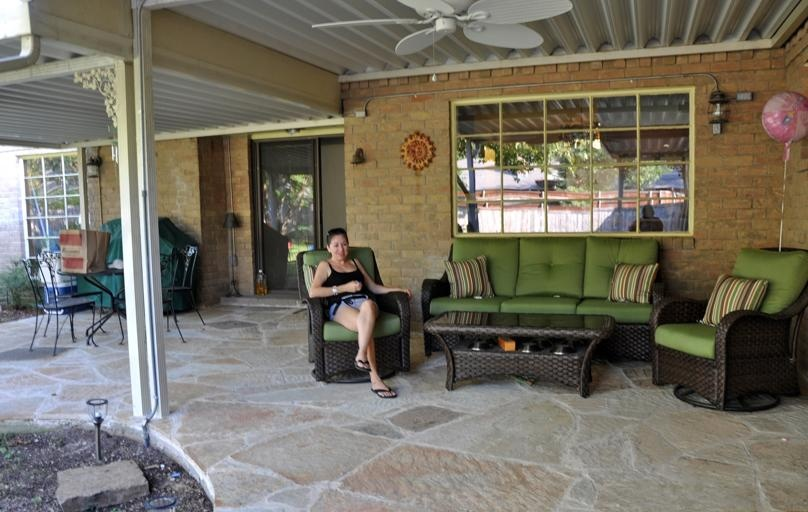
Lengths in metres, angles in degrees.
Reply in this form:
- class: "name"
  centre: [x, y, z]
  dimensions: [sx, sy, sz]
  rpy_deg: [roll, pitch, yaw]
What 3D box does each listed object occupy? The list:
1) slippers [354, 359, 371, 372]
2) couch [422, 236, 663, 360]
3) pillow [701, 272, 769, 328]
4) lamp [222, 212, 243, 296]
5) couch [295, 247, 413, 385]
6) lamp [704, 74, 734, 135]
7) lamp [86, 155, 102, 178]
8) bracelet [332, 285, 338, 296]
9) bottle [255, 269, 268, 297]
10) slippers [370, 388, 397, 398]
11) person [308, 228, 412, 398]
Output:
- class: "slippers"
  centre: [-0.413, 1.099, 5.530]
  dimensions: [0.109, 0.056, 0.188]
  rpy_deg: [5, -4, -36]
- class: "couch"
  centre: [1.735, 0.521, 6.700]
  dimensions: [2.739, 1.257, 0.989]
  rpy_deg: [0, 20, 25]
- class: "pillow"
  centre: [3.191, 0.432, 5.264]
  dimensions: [0.298, 0.430, 0.515]
  rpy_deg: [10, -2, -31]
- class: "lamp"
  centre: [-2.970, -0.039, 9.674]
  dimensions: [0.311, 1.439, 0.270]
  rpy_deg: [-3, 6, -3]
- class: "couch"
  centre: [-0.603, 0.708, 6.377]
  dimensions: [1.241, 1.309, 1.478]
  rpy_deg: [-1, 1, -17]
- class: "lamp"
  centre: [3.818, -1.843, 6.657]
  dimensions: [0.268, 0.742, 0.151]
  rpy_deg: [0, 7, 19]
- class: "lamp"
  centre: [-5.568, -1.621, 9.972]
  dimensions: [0.405, 0.331, 0.098]
  rpy_deg: [-1, 1, 11]
- class: "bracelet"
  centre: [-0.705, 0.358, 5.728]
  dimensions: [0.064, 0.092, 0.088]
  rpy_deg: [-1, -16, -1]
- class: "bottle"
  centre: [-2.499, 0.447, 9.703]
  dimensions: [0.203, 0.438, 0.162]
  rpy_deg: [-4, 6, -15]
- class: "slippers"
  centre: [-0.183, 1.332, 5.387]
  dimensions: [0.257, 0.067, 0.153]
  rpy_deg: [-2, 5, -1]
- class: "person"
  centre: [-0.433, 0.515, 5.830]
  dimensions: [1.064, 1.618, 0.751]
  rpy_deg: [2, 7, 36]
